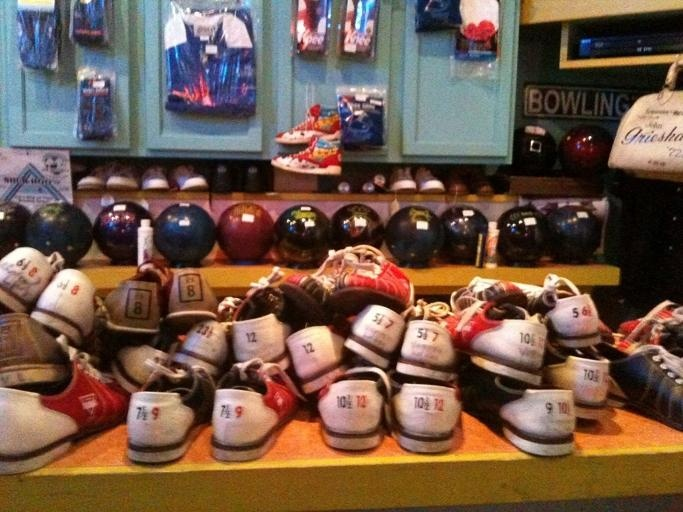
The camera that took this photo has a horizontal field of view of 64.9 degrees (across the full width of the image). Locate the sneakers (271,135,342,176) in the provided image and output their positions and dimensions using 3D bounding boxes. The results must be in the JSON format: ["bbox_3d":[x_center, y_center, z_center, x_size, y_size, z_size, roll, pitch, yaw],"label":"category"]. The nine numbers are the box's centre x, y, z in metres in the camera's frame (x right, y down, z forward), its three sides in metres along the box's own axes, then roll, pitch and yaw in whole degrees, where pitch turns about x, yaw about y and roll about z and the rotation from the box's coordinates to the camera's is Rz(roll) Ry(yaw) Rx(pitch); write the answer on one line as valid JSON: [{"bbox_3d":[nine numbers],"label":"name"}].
[{"bbox_3d":[-0.128,-0.510,2.772,0.439,0.241,0.151,4,13,-1],"label":"sneakers"}]

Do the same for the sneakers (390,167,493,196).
[{"bbox_3d":[0.545,-0.410,3.035,0.285,0.111,0.340,0,5,-14],"label":"sneakers"}]
